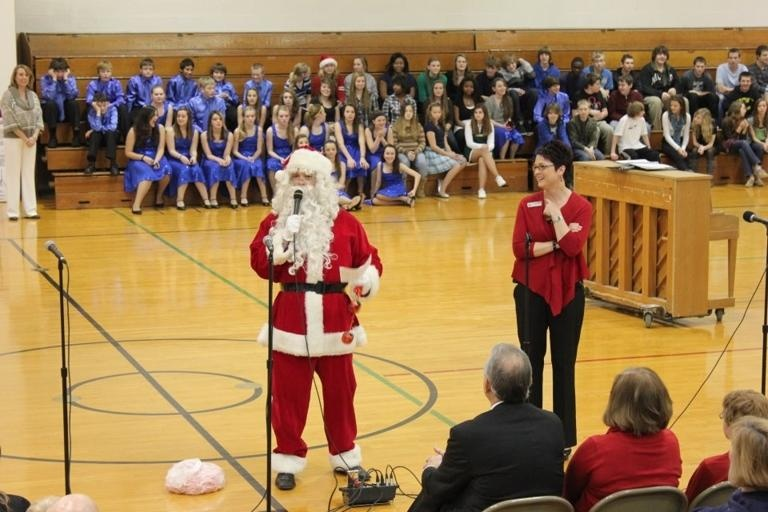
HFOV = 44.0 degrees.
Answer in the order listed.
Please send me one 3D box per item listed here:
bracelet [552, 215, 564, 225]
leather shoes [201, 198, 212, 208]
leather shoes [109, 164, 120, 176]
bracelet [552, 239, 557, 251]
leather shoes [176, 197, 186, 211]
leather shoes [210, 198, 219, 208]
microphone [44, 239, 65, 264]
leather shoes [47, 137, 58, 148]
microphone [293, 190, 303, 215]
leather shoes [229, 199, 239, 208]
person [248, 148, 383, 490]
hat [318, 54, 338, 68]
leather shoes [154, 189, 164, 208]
[{"bbox_3d":[1.246,-0.272,6.853,0.078,0.052,0.081,-10,-7,36],"label":"bracelet"},{"bbox_3d":[-2.754,-0.832,14.783,0.087,0.134,0.155,-8,11,-32],"label":"leather shoes"},{"bbox_3d":[-4.173,-1.347,14.652,0.176,0.181,0.468,-2,6,-15],"label":"leather shoes"},{"bbox_3d":[1.231,-0.086,6.911,0.039,0.078,0.041,0,10,8],"label":"bracelet"},{"bbox_3d":[-3.138,-0.818,14.601,0.158,0.118,0.424,-2,12,-17],"label":"leather shoes"},{"bbox_3d":[-2.661,-0.847,14.807,0.127,0.139,0.364,-1,5,-18],"label":"leather shoes"},{"bbox_3d":[-3.304,-0.046,9.484,0.108,0.118,0.413,-32,43,-15],"label":"microphone"},{"bbox_3d":[-5.161,-1.784,14.759,0.129,0.162,0.214,-5,10,-19],"label":"leather shoes"},{"bbox_3d":[-0.595,-0.374,6.495,0.068,0.170,0.214,-3,9,-5],"label":"microphone"},{"bbox_3d":[-2.366,-0.844,14.908,0.134,0.103,0.369,-3,6,-11],"label":"leather shoes"},{"bbox_3d":[-0.480,0.424,6.690,0.860,2.348,0.405,-3,10,-9],"label":"person"},{"bbox_3d":[-0.948,-3.281,15.785,0.346,0.222,0.347,-11,-1,-2],"label":"hat"},{"bbox_3d":[-3.505,-0.912,14.792,0.140,0.269,0.204,-4,10,-14],"label":"leather shoes"}]
